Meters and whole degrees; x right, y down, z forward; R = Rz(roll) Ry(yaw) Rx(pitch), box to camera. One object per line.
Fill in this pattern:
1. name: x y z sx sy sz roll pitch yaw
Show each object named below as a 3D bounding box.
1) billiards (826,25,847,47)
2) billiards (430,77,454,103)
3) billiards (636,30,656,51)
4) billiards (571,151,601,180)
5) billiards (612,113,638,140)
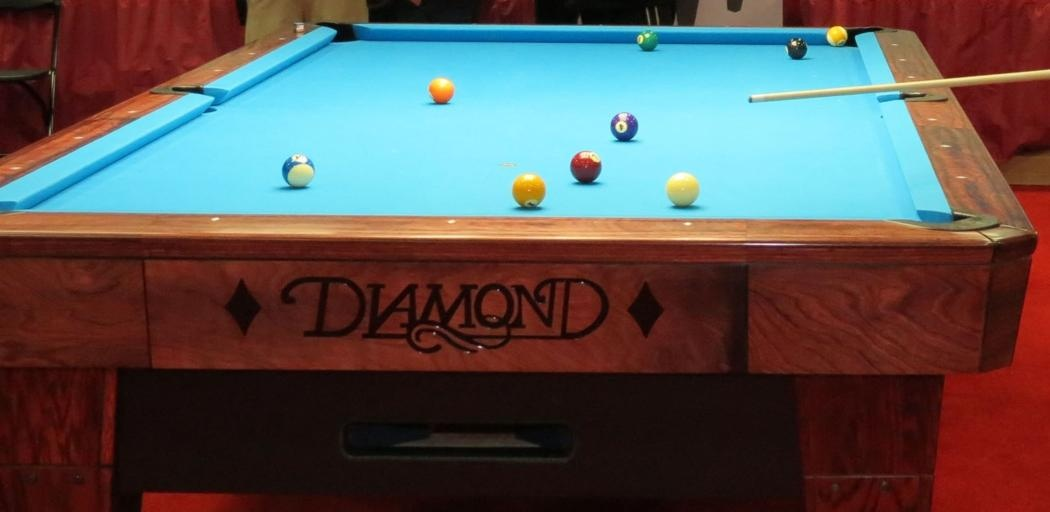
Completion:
1. billiards: 1.629 -1.153 4.831 0.110 0.095 0.106 -25 35 -32
2. billiards: -0.359 -0.711 3.986 0.126 0.102 0.109 1 -5 5
3. billiards: 0.636 -1.101 4.736 0.117 0.095 0.107 -6 1 -18
4. billiards: 0.222 -0.322 3.368 0.116 0.097 0.108 0 -6 -21
5. billiards: 0.395 -0.516 3.677 0.128 0.113 0.103 -1 11 1
